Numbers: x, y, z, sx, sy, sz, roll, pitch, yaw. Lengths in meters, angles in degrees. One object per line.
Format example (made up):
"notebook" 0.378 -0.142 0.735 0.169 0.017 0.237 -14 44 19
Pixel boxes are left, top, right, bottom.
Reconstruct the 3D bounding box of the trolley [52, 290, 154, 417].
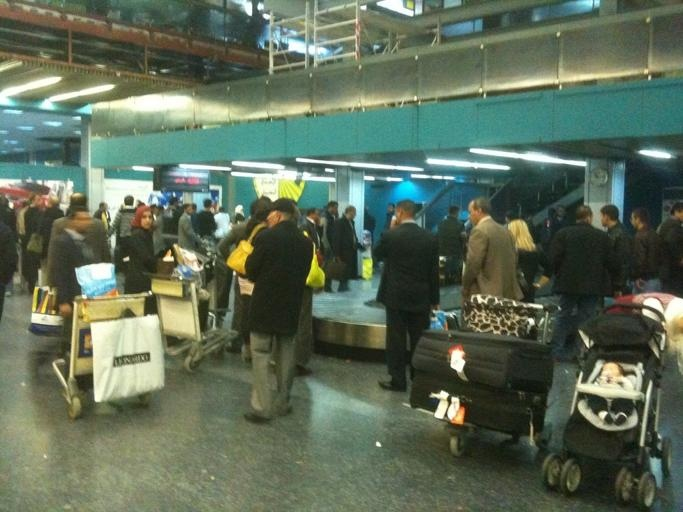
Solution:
"trolley" -2.886 1.071 8.467 0.919 1.415 1.196 5 3 -31

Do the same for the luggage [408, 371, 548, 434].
"luggage" 1.327 1.451 7.103 1.284 0.506 0.246 5 13 16

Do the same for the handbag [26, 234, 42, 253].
"handbag" -5.691 -0.226 13.480 0.251 0.444 0.229 5 8 -21

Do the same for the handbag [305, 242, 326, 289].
"handbag" -0.319 0.152 9.032 0.168 0.424 0.379 2 17 6

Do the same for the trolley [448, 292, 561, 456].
"trolley" 1.509 1.211 7.473 1.032 1.616 1.016 -2 -9 40

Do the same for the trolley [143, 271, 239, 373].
"trolley" -1.999 0.814 9.902 0.714 1.257 1.238 5 12 30

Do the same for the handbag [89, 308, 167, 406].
"handbag" -2.382 1.111 8.002 0.897 1.090 0.308 -7 4 -34

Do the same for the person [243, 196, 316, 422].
"person" -0.741 0.595 8.055 0.543 2.313 0.901 6 14 25

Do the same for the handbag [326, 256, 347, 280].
"handbag" -0.073 0.223 13.009 0.106 0.406 0.354 -15 21 -39
